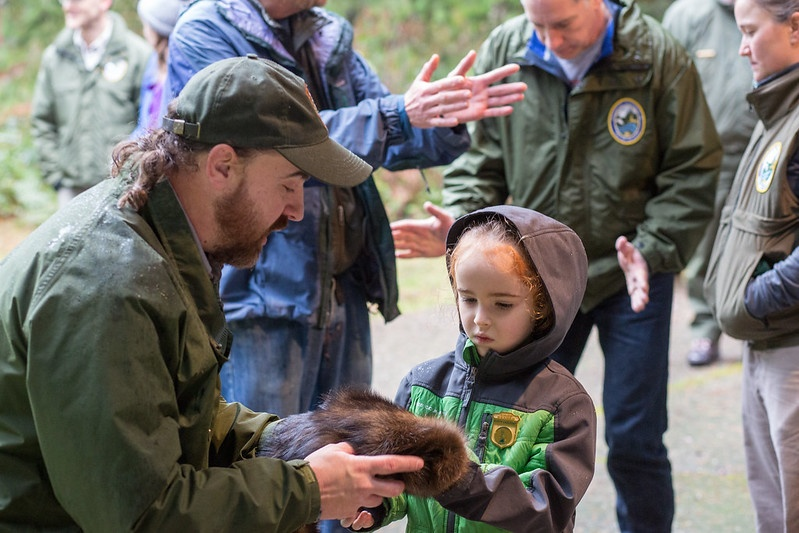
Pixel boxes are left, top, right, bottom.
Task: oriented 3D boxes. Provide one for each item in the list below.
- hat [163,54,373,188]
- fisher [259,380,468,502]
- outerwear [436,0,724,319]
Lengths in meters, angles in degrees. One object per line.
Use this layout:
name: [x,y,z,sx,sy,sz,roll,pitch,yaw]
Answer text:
hat: [-0.626,-0.717,5.337,0.976,0.593,0.658,0,8,-17]
fisher: [-0.078,0.736,5.245,1.211,0.484,0.582,4,-23,29]
outerwear: [1.040,-0.593,6.163,1.350,1.792,0.952,19,38,26]
